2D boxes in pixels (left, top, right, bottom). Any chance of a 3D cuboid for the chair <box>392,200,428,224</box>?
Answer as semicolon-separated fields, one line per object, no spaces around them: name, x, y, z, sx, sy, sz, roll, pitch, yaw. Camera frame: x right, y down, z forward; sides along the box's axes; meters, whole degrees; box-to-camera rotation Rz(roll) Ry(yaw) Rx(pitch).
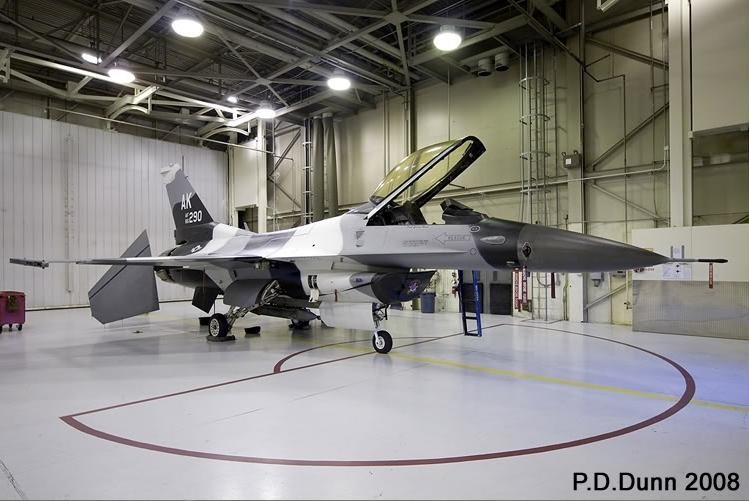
chair;0.758;-0.805;11.374;0.656;0.427;0.484;-4;14;-12
